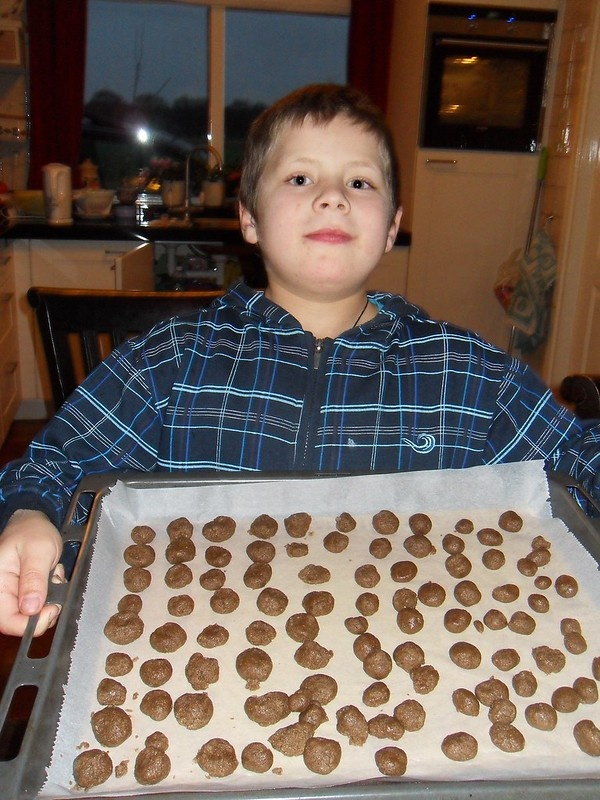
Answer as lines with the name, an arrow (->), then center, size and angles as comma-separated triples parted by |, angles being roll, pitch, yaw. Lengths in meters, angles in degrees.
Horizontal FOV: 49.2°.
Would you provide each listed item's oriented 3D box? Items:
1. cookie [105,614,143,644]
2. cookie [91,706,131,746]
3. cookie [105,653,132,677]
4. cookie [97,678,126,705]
cookie -> -0.177, 0.230, 0.661 | 0.028, 0.022, 0.039 | 4, 6, 16
cookie -> -0.162, 0.279, 0.563 | 0.032, 0.020, 0.034 | 7, 7, 42
cookie -> -0.172, 0.252, 0.624 | 0.024, 0.017, 0.017 | 1, 6, -15
cookie -> -0.170, 0.265, 0.593 | 0.024, 0.018, 0.026 | 2, 6, -6
